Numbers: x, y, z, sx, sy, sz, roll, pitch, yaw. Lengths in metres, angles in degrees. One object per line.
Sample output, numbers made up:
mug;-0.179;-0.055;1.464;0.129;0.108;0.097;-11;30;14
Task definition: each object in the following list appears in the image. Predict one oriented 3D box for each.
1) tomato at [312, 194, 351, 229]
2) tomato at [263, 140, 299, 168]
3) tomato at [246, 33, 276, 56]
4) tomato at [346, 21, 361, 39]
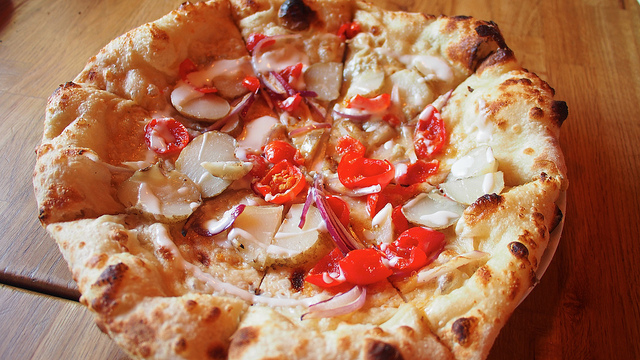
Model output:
tomato;0.133;0.330;5.837;0.100;0.310;0.307;-29;29;8
tomato;-0.430;-0.295;6.074;0.305;0.123;0.260;-38;70;-15
tomato;-0.718;-1.568;6.605;0.256;0.090;0.268;-43;80;-5
tomato;0.385;-1.762;6.680;0.159;0.059;0.171;2;90;7
